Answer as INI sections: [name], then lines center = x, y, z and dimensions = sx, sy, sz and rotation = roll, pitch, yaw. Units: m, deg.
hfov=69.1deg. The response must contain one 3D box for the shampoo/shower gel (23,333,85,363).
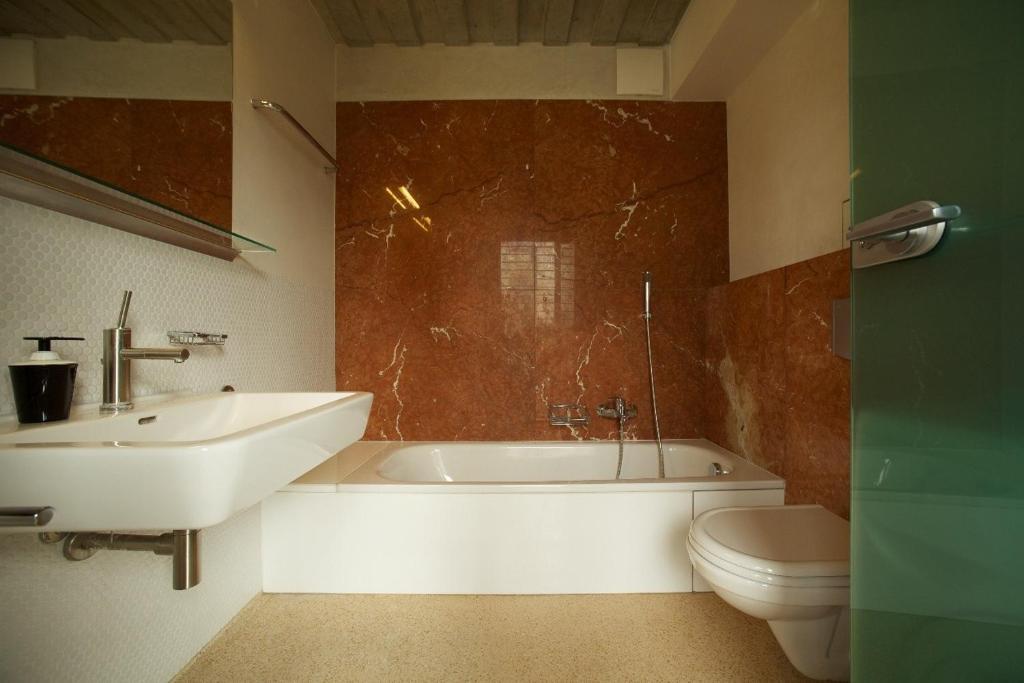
[shampoo/shower gel]
center = -1.475, 0.021, 2.403
dimensions = 0.166, 0.095, 0.214
rotation = -2, -1, -28

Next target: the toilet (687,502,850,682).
[toilet]
center = 0.891, 0.933, 2.815
dimensions = 0.603, 0.428, 0.518
rotation = -2, 4, 5
